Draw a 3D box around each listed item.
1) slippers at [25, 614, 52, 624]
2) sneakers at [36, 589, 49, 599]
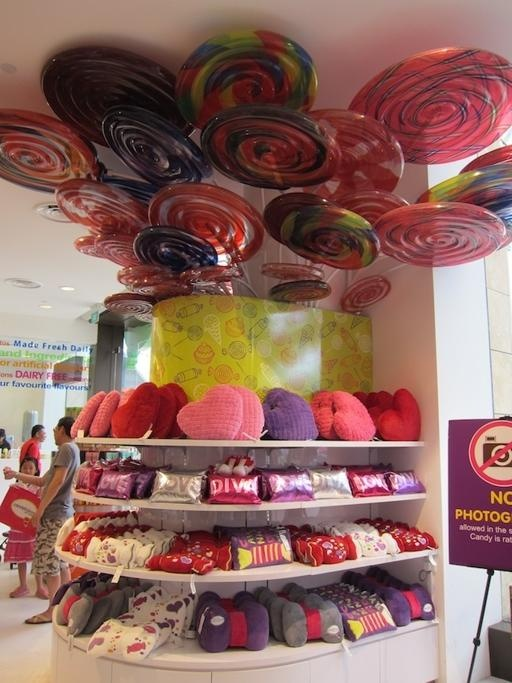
[{"bbox_3d":[-1.707,2.163,3.866,0.188,0.046,0.077,9,-13,-16],"label":"slippers"},{"bbox_3d":[-1.938,2.269,4.457,0.120,0.047,0.064,-8,-16,41],"label":"sneakers"}]
